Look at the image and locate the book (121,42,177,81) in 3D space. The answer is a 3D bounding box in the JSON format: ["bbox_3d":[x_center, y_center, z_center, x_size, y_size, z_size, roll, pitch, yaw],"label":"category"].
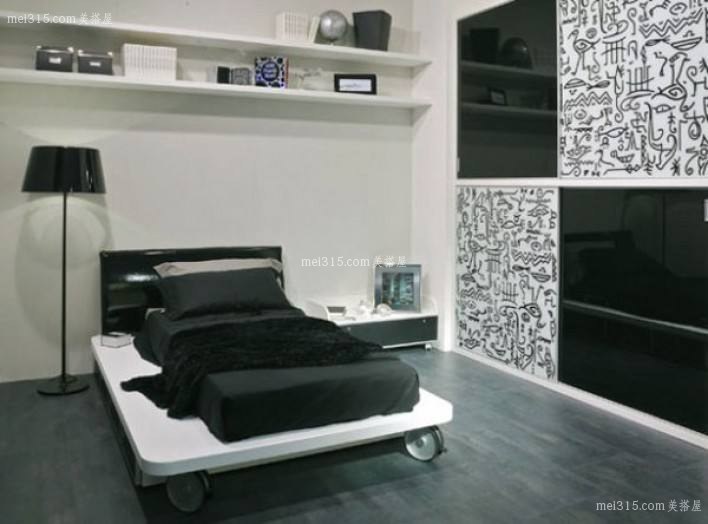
[{"bbox_3d":[-1.713,-1.655,4.539,0.431,0.284,0.140,-5,11,-25],"label":"book"}]

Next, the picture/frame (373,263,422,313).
[{"bbox_3d":[0.448,0.282,5.506,0.449,0.487,0.034,0,-4,7],"label":"picture/frame"}]

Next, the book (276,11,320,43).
[{"bbox_3d":[-0.537,-2.168,5.028,0.392,0.394,0.221,0,12,-21],"label":"book"}]

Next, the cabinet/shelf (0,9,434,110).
[{"bbox_3d":[-1.020,-1.758,4.921,3.800,0.599,0.389,-4,11,-22],"label":"cabinet/shelf"}]

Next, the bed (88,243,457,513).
[{"bbox_3d":[-0.929,0.654,3.812,1.594,0.938,2.128,-3,7,-29],"label":"bed"}]

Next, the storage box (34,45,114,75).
[{"bbox_3d":[-2.309,-1.648,4.456,0.585,0.233,0.320,-4,11,-21],"label":"storage box"}]
